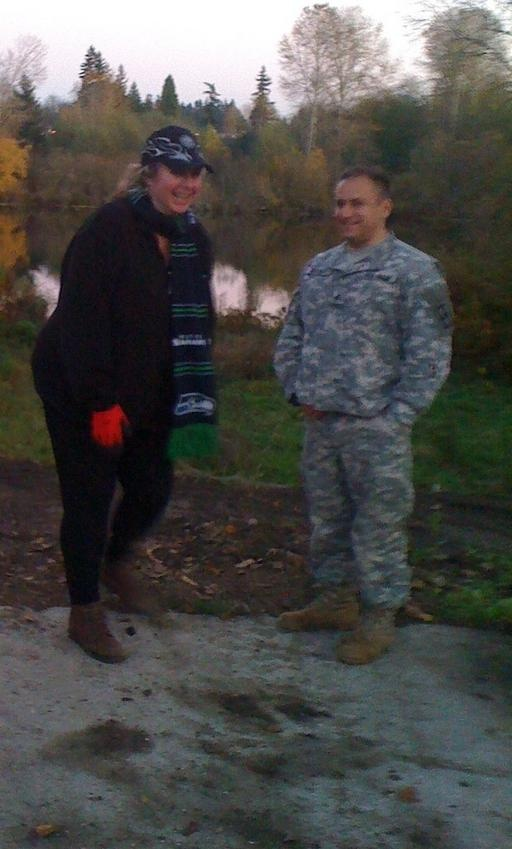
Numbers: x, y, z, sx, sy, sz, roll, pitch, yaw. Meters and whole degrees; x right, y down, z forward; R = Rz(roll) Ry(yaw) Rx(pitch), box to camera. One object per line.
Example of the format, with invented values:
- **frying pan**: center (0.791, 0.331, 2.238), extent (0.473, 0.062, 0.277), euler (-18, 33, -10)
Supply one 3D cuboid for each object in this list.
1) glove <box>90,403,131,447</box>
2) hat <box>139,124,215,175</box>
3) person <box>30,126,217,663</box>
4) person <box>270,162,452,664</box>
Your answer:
- **glove**: center (-0.590, 0.008, 3.785), extent (0.136, 0.167, 0.059), euler (-34, 52, -23)
- **hat**: center (-0.344, -1.142, 3.896), extent (0.290, 0.132, 0.201), euler (11, 12, 35)
- **person**: center (-0.565, -0.137, 4.015), extent (0.488, 2.244, 0.765), euler (11, 17, 28)
- **person**: center (0.449, -0.069, 4.216), extent (0.556, 2.105, 0.911), euler (-8, 18, -35)
